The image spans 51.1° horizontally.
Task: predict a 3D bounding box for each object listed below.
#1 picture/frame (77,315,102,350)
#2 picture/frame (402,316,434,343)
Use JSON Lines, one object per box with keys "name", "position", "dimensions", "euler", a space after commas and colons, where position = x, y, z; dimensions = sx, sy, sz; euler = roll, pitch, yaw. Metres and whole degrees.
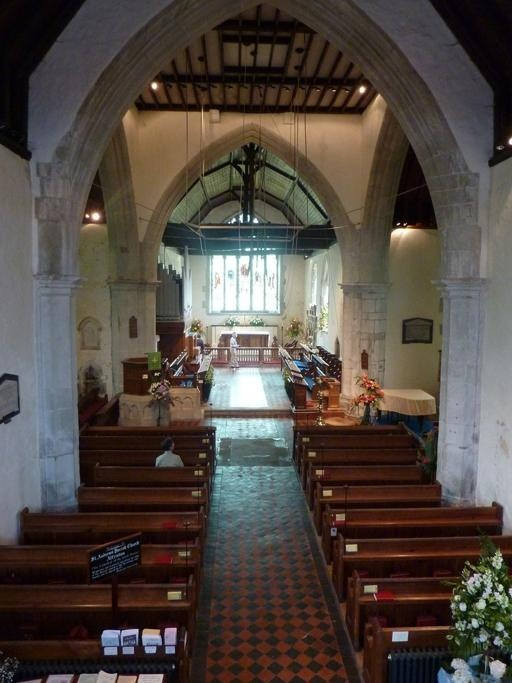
{"name": "picture/frame", "position": [-3.627, -0.222, 11.644], "dimensions": [0.657, 0.945, 0.151], "euler": [1, 14, -4]}
{"name": "picture/frame", "position": [3.732, -0.292, 12.432], "dimensions": [0.573, 0.599, 0.063], "euler": [0, 2, -8]}
